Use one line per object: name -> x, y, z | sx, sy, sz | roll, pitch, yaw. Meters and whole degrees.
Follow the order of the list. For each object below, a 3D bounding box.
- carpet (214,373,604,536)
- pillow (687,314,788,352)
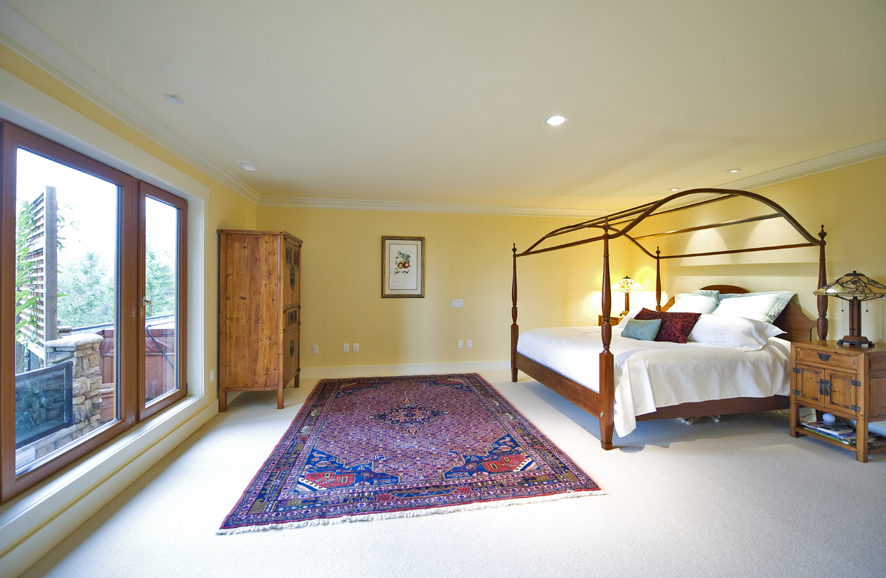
carpet -> -0.369, 1.540, 4.821 | 2.869, 0.090, 1.718 | -2, 14, -8
pillow -> 3.086, 0.452, 5.460 | 0.797, 0.329, 0.650 | 10, 17, 34
